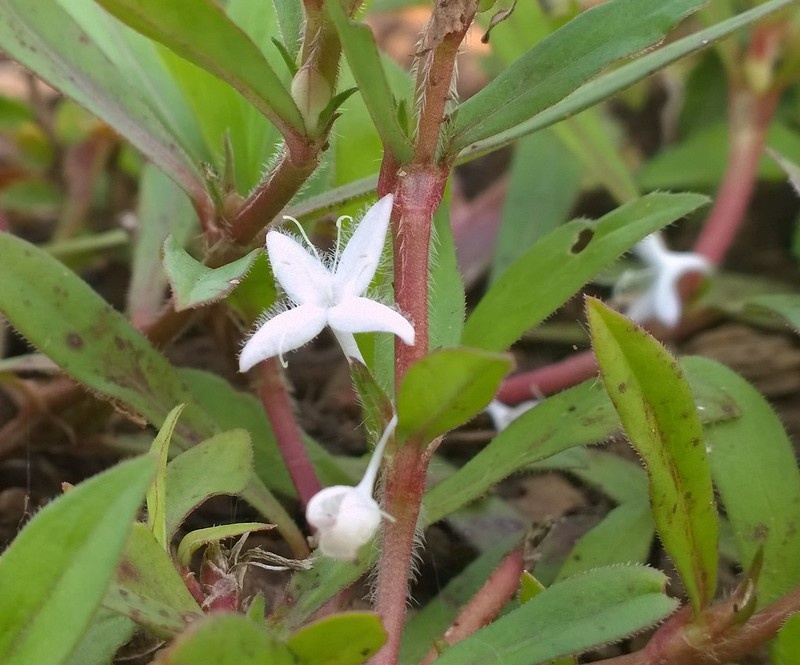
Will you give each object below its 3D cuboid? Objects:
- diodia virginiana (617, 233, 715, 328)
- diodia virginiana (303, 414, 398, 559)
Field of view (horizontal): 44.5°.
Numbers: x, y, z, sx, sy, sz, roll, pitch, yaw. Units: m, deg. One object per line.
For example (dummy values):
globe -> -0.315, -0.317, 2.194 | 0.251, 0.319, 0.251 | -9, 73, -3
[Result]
diodia virginiana -> 0.484, -0.104, 1.786 | 0.127, 0.130, 0.212 | 16, 50, 37
diodia virginiana -> -0.039, 0.160, 0.958 | 0.084, 0.061, 0.145 | 25, 73, 6
